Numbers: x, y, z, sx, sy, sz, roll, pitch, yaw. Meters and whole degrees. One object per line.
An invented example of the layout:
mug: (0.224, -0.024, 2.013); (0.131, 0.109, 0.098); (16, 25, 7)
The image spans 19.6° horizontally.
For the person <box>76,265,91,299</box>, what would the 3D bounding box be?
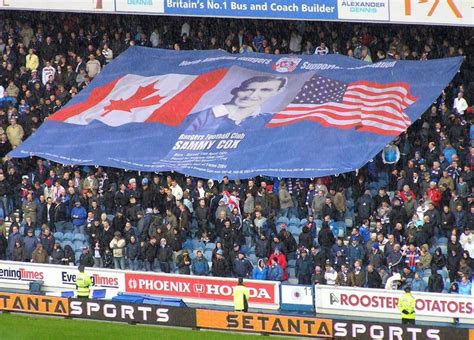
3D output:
person: (-5.822, 4.191, 51.163); (0.549, 1.199, 0.559); (2, -9, -9)

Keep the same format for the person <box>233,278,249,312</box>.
person: (0.097, 4.593, 50.376); (0.535, 1.219, 0.568); (1, -9, 0)
